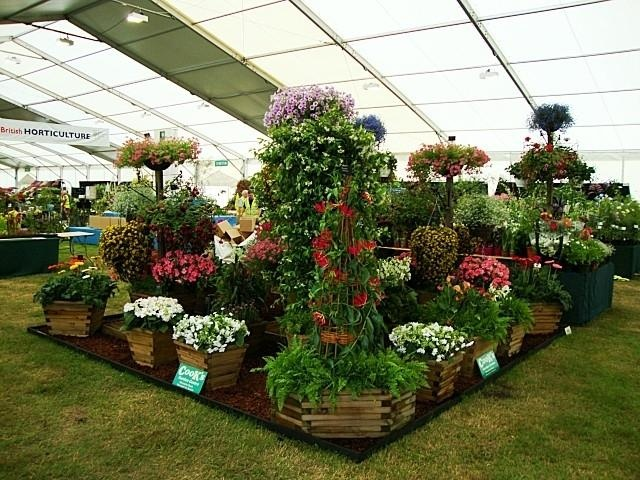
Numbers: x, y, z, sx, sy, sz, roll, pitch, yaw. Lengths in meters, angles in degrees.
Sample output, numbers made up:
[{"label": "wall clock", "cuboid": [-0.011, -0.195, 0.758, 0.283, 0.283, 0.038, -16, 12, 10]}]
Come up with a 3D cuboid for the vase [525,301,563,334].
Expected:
[{"label": "vase", "cuboid": [3.024, 1.048, 5.903, 0.342, 0.379, 0.577, 0, 2, 9]}]

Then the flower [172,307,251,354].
[{"label": "flower", "cuboid": [-1.136, 0.896, 4.329, 0.487, 0.211, 0.462, 1, 8, -30]}]

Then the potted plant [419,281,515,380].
[{"label": "potted plant", "cuboid": [1.583, 0.907, 4.815, 0.895, 0.959, 0.734, -3, 10, -24]}]

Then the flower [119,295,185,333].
[{"label": "flower", "cuboid": [-1.816, 0.801, 4.730, 0.466, 0.169, 0.462, 5, 6, 12]}]

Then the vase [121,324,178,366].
[{"label": "vase", "cuboid": [-1.821, 1.122, 4.827, 0.674, 0.432, 0.457, 0, 1, 21]}]

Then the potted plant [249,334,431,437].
[{"label": "potted plant", "cuboid": [0.231, 1.238, 3.618, 0.982, 0.399, 0.924, 1, -2, -21]}]
